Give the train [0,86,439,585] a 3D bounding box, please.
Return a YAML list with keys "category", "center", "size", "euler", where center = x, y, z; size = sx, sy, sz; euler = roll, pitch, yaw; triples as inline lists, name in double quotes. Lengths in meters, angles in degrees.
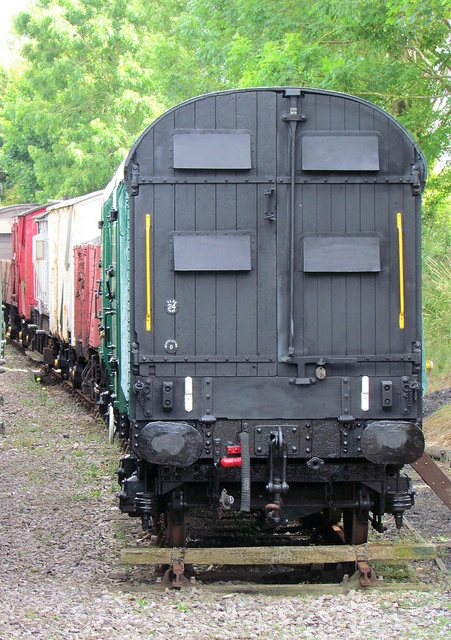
- category: "train"
  center: [-0.340, -0.088, 9.054]
  size: [1.843, 2.686, 7.401]
  euler: [-1, 2, -5]
